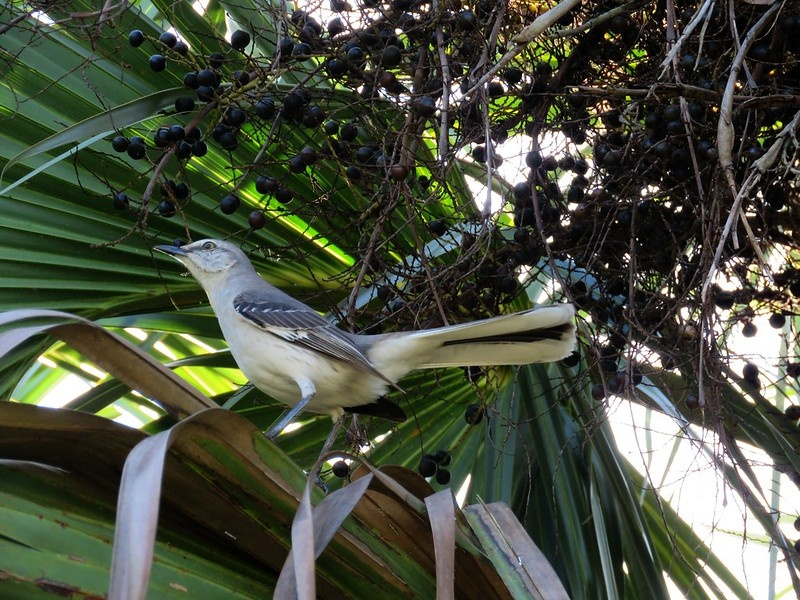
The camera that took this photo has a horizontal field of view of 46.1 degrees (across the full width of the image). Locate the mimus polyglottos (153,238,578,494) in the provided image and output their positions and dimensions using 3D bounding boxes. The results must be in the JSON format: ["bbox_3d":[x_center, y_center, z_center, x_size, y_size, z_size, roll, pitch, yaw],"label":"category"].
[{"bbox_3d":[-0.174,0.171,4.017,1.784,0.850,0.420,3,-18,2],"label":"mimus polyglottos"}]
